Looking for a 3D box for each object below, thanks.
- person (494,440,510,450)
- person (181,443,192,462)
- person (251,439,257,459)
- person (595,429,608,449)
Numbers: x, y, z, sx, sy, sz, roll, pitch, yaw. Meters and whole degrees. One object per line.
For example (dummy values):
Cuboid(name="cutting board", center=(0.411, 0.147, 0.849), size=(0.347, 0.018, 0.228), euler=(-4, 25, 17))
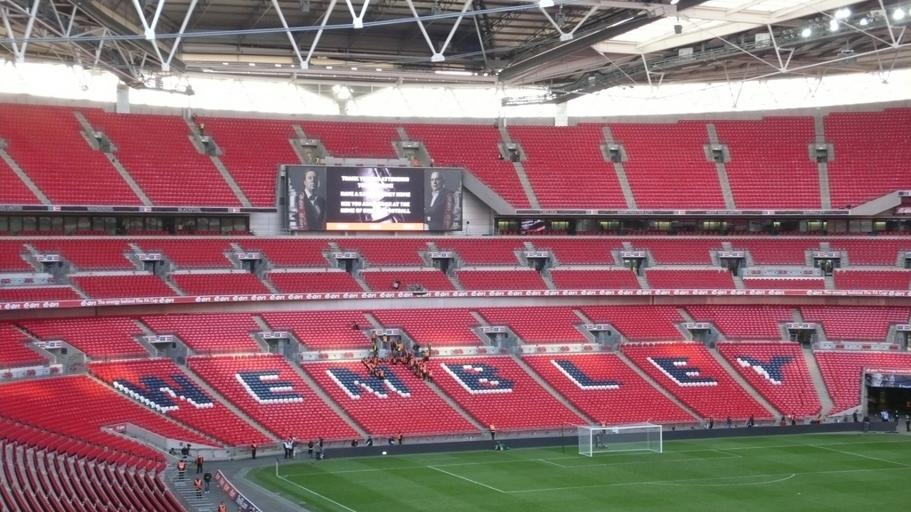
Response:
Cuboid(name="person", center=(3.997, 16.861, 140.558), size=(1.240, 0.782, 1.084), euler=(-5, 2, 36))
Cuboid(name="person", center=(-23.047, 16.777, 135.156), size=(0.759, 1.419, 1.170), euler=(-8, 2, -2))
Cuboid(name="person", center=(-17.547, 16.912, 137.090), size=(0.464, 1.258, 1.004), euler=(-9, 2, -5))
Cuboid(name="person", center=(12.931, 16.260, 140.249), size=(1.233, 1.652, 0.482), euler=(-8, 2, -3))
